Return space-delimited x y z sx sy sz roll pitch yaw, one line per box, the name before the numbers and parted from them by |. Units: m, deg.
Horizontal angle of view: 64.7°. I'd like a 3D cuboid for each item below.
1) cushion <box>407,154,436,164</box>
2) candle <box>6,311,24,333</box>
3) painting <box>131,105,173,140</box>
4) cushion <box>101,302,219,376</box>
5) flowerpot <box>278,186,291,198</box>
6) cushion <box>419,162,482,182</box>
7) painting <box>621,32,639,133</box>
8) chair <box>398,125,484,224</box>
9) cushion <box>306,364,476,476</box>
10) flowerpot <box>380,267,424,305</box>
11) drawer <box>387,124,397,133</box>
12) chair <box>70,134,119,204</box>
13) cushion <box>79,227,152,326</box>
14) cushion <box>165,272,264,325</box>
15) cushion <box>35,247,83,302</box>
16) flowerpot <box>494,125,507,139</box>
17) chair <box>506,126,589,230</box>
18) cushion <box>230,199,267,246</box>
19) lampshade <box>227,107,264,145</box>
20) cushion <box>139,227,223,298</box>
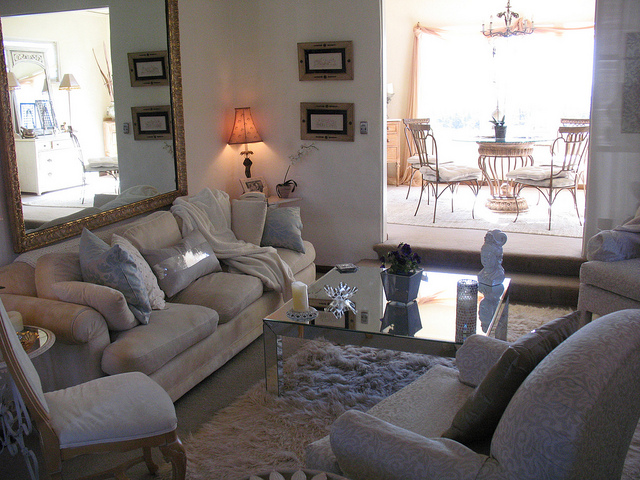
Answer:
cushion | 1.271 -1.006 6.311 0.232 0.117 0.681 -3 10 -3
candle | -1.501 0.398 2.517 0.096 0.076 0.095 -1 17 -17
painting | -1.354 -0.935 4.024 0.022 0.257 0.304 11 18 42
cushion | -0.905 0.553 2.882 0.365 0.090 0.368 3 16 26
flowerpot | -0.346 -0.474 5.000 0.098 0.084 0.100 -3 3 -18
cushion | 1.577 -0.813 6.094 0.600 0.208 0.433 -7 11 -24
painting | 2.537 -1.272 4.099 0.128 0.785 0.048 4 13 33
chair | 1.481 -0.852 6.226 0.856 1.140 0.712 -4 15 -13
cushion | 0.431 0.888 2.256 0.329 0.179 0.756 13 25 35
flowerpot | 0.509 0.289 3.153 0.239 0.179 0.216 3 7 28
drawer | 1.201 -1.830 8.307 0.197 0.121 0.108 1 12 4
chair | -1.623 -0.560 3.684 0.292 0.441 0.247 -4 29 -21
cushion | -1.255 0.234 3.098 0.322 0.550 0.579 -12 21 -42
cushion | -0.705 0.356 3.471 0.348 0.116 0.424 1 14 23
cushion | -1.535 0.213 3.096 0.319 0.297 0.421 2 5 -3
flowerpot | 2.081 -1.243 5.820 0.141 0.110 0.137 -2 15 1
chair | 2.630 -0.750 5.852 0.667 1.116 0.805 -7 15 -15
cushion | -0.589 -0.135 4.203 0.337 0.343 0.127 -5 -8 30
lampshade | -0.741 -1.121 5.034 0.356 0.356 0.328 -12 18 -30
cushion | -0.972 0.153 3.577 0.300 0.273 0.679 26 24 11
